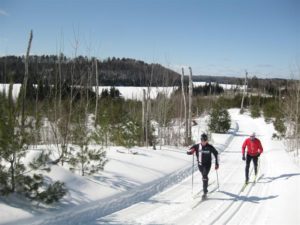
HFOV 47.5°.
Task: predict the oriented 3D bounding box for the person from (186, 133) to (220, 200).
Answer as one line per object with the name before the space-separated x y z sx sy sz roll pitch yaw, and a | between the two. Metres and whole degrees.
person | 2.508 2.439 16.002 1.316 2.869 0.826 3 10 11

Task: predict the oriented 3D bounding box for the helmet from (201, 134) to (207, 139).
helmet | 2.497 1.124 15.838 0.273 0.229 0.271 1 11 1
